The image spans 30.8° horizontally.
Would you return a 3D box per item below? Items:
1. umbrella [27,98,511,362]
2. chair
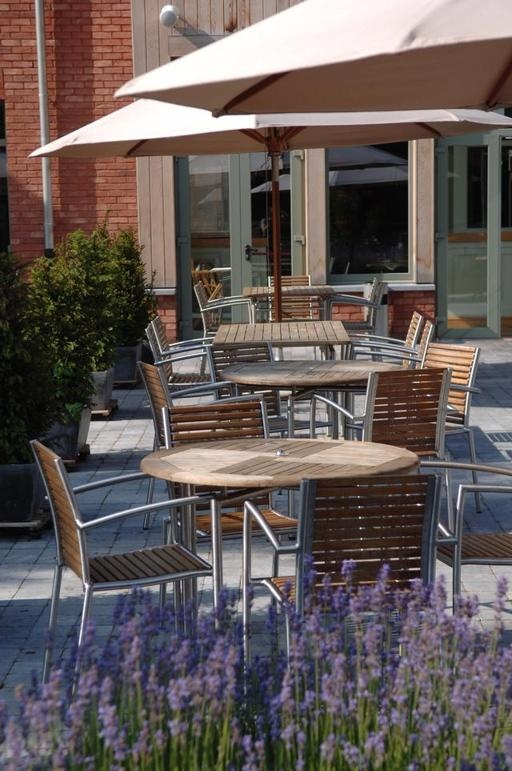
[{"bbox_3d":[-0.033,-1.752,10.273,3.327,2.083,3.223,-3,5,-10],"label":"umbrella"},{"bbox_3d":[-0.179,0.486,3.238,1.198,0.723,0.910,-6,14,-19],"label":"chair"}]
